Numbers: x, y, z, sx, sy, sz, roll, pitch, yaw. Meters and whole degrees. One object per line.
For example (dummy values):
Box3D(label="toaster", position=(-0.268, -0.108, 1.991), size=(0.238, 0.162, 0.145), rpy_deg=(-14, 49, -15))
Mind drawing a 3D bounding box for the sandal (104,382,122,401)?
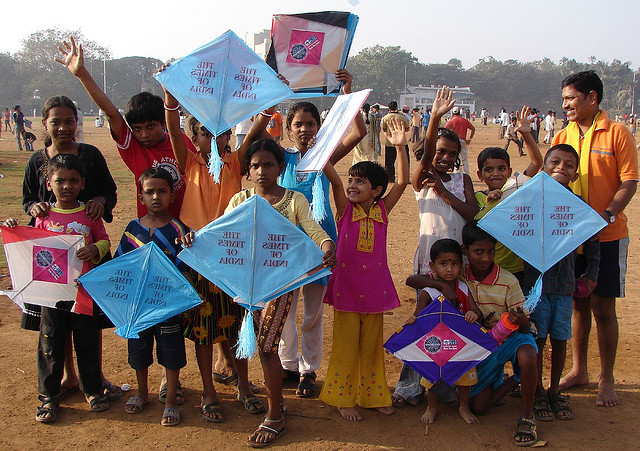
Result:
Box3D(label="sandal", position=(-2.053, 1.632, 6.213), size=(0.164, 0.148, 0.106), rpy_deg=(-2, 12, -17))

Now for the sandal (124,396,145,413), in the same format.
Box3D(label="sandal", position=(-1.788, 1.709, 6.025), size=(0.166, 0.121, 0.117), rpy_deg=(2, 12, 0))

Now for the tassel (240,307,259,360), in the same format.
Box3D(label="tassel", position=(-0.617, 0.921, 5.546), size=(0.122, 0.460, 0.301), rpy_deg=(5, 12, 14))

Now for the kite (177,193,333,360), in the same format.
Box3D(label="kite", position=(-0.582, 0.487, 5.627), size=(1.413, 1.572, 0.211), rpy_deg=(4, 19, -7))

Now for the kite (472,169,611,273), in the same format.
Box3D(label="kite", position=(2.118, -0.026, 5.892), size=(0.986, 1.080, 0.516), rpy_deg=(-11, 43, 35))

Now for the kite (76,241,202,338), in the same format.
Box3D(label="kite", position=(-1.647, 0.588, 5.809), size=(0.784, 0.694, 0.067), rpy_deg=(1, -8, 2))

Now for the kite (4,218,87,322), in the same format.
Box3D(label="kite", position=(-2.565, 0.401, 5.920), size=(0.777, 0.930, 0.071), rpy_deg=(7, 7, 6))

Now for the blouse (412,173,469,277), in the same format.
Box3D(label="blouse", position=(1.221, -0.007, 6.317), size=(0.570, 1.015, 0.506), rpy_deg=(3, 11, 4))

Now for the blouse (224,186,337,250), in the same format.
Box3D(label="blouse", position=(-0.362, 0.029, 5.863), size=(0.884, 0.692, 0.671), rpy_deg=(-7, 23, -45))

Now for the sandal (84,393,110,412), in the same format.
Box3D(label="sandal", position=(-2.172, 1.677, 6.085), size=(0.241, 0.153, 0.213), rpy_deg=(-1, 12, -14))

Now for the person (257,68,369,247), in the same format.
Box3D(label="person", position=(-0.163, -0.393, 6.126), size=(1.134, 2.277, 0.524), rpy_deg=(-2, -21, 9))

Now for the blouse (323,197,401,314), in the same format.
Box3D(label="blouse", position=(0.345, 0.342, 6.117), size=(0.561, 1.213, 0.709), rpy_deg=(1, 13, -10))

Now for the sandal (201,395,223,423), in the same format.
Box3D(label="sandal", position=(-1.037, 1.744, 5.958), size=(0.192, 0.134, 0.510), rpy_deg=(1, -3, -20))

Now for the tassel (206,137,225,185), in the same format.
Box3D(label="tassel", position=(-0.975, -0.593, 5.799), size=(0.124, 0.152, 0.437), rpy_deg=(8, 34, -11))

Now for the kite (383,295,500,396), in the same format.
Box3D(label="kite", position=(1.192, 1.152, 5.948), size=(0.895, 0.933, 0.056), rpy_deg=(0, 2, 9))

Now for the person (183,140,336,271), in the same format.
Box3D(label="person", position=(-0.475, -0.210, 5.846), size=(1.341, 1.290, 0.699), rpy_deg=(1, 15, 22))

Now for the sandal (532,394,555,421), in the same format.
Box3D(label="sandal", position=(2.149, 1.719, 6.055), size=(0.157, 0.191, 0.459), rpy_deg=(-6, 1, 16))

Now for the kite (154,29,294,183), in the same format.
Box3D(label="kite", position=(-0.854, -1.270, 5.534), size=(1.109, 0.895, 0.428), rpy_deg=(-1, 12, -16))

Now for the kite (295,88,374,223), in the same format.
Box3D(label="kite", position=(0.102, -0.811, 5.631), size=(0.319, 1.435, 0.962), rpy_deg=(19, 20, -14))

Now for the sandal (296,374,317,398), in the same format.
Box3D(label="sandal", position=(-0.143, 1.612, 6.414), size=(0.195, 0.177, 0.251), rpy_deg=(2, 12, 1))

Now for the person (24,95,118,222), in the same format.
Box3D(label="person", position=(-2.497, -0.494, 6.192), size=(0.883, 1.606, 0.820), rpy_deg=(-5, 9, -22))

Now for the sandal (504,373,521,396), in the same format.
Box3D(label="sandal", position=(1.910, 1.630, 6.411), size=(0.286, 0.127, 0.103), rpy_deg=(14, 33, 31))

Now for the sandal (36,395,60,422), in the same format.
Box3D(label="sandal", position=(-2.585, 1.715, 5.938), size=(0.193, 0.197, 0.203), rpy_deg=(-3, 12, -22))

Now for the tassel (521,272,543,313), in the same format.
Box3D(label="tassel", position=(2.008, 0.638, 5.931), size=(0.151, 0.153, 0.357), rpy_deg=(-5, 31, 34))

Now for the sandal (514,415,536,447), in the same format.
Box3D(label="sandal", position=(1.881, 1.831, 5.715), size=(0.109, 0.109, 0.328), rpy_deg=(-5, 29, 22))

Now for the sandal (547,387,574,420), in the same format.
Box3D(label="sandal", position=(2.331, 1.715, 6.098), size=(0.178, 0.154, 0.531), rpy_deg=(1, 6, 8))
